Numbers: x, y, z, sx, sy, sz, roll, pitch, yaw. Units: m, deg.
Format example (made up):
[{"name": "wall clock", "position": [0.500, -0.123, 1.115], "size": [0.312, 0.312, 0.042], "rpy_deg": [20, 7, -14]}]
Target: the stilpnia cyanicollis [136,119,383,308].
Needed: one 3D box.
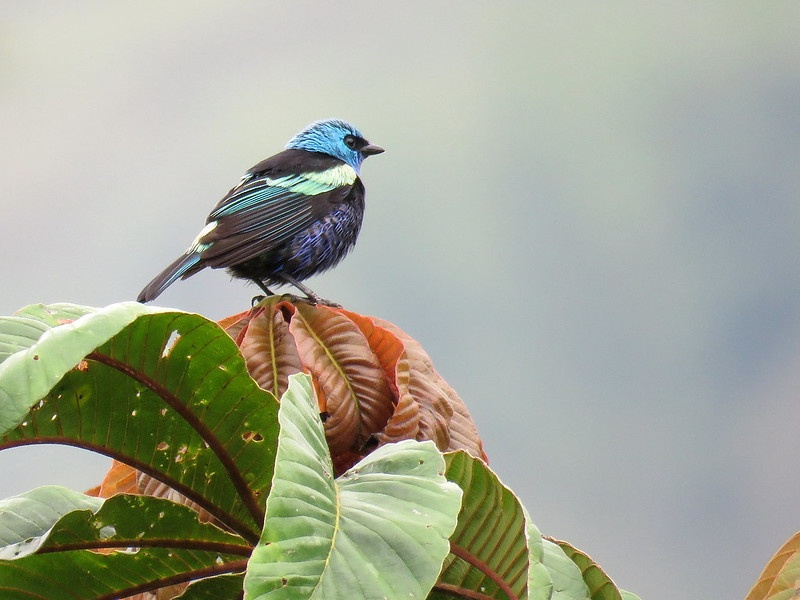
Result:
[{"name": "stilpnia cyanicollis", "position": [-0.504, -0.336, 4.392], "size": [0.491, 1.012, 0.723], "rpy_deg": [163, -79, -65]}]
